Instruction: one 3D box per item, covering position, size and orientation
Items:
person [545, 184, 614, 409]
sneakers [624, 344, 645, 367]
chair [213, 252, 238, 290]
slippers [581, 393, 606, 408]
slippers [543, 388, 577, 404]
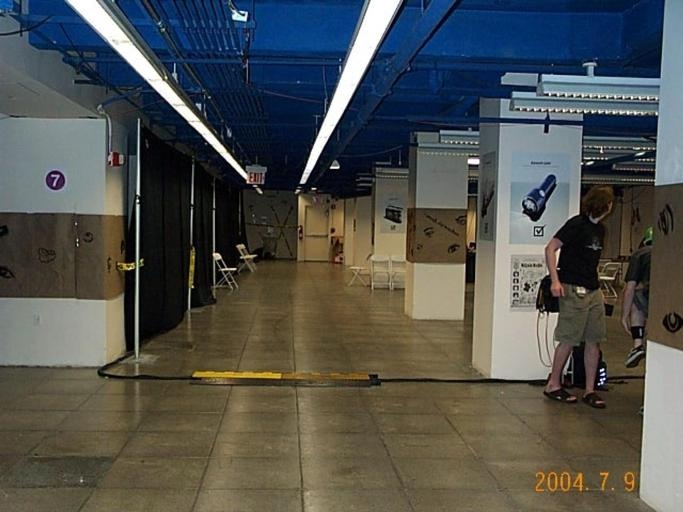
[{"bbox_3d":[2.538,0.427,6.804,0.686,2.365,0.476,3,7,20],"label":"person"},{"bbox_3d":[3.067,1.080,6.572,0.161,0.269,0.409,5,8,26],"label":"sneakers"},{"bbox_3d":[-2.979,0.412,16.397,0.585,0.886,0.710,3,6,16],"label":"chair"},{"bbox_3d":[2.703,1.569,6.796,0.103,0.100,0.238,-1,-3,-7],"label":"slippers"},{"bbox_3d":[2.421,1.533,6.957,0.278,0.114,0.132,-1,3,41],"label":"slippers"}]
